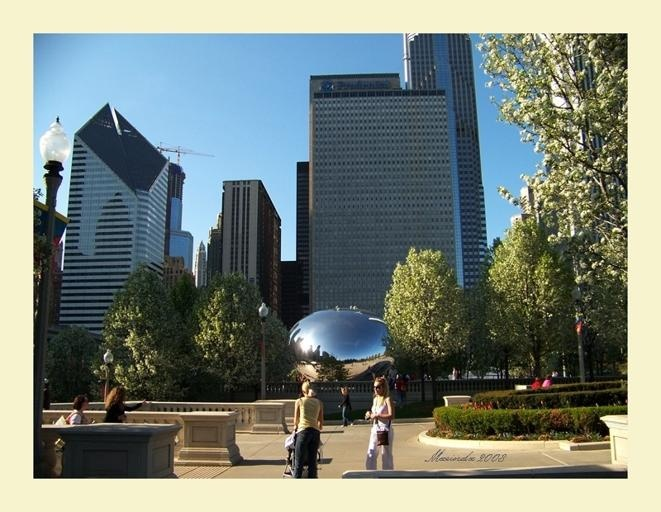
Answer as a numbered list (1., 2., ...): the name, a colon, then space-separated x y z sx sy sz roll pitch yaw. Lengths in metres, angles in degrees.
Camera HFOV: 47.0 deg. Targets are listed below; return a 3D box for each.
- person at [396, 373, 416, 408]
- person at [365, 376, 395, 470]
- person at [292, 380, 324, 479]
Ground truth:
1. person: 3.899 6.968 39.110 1.023 1.103 3.212 10 -20 8
2. person: 1.084 3.684 16.820 0.592 2.013 1.541 -1 -10 3
3. person: -0.485 3.735 16.339 0.599 2.060 0.488 0 -10 -2
